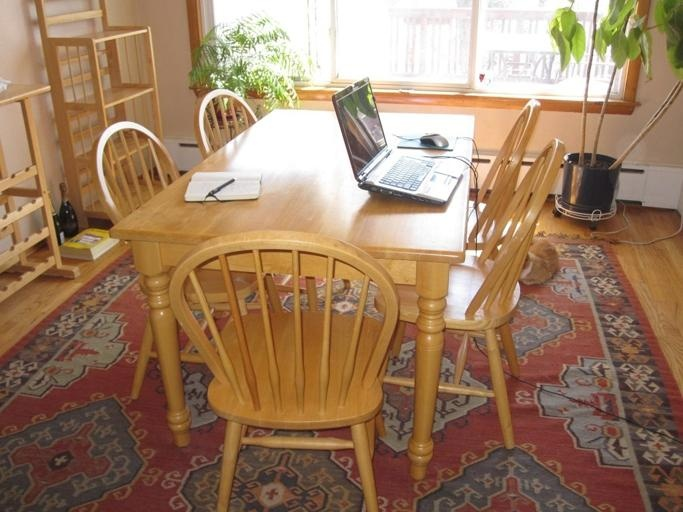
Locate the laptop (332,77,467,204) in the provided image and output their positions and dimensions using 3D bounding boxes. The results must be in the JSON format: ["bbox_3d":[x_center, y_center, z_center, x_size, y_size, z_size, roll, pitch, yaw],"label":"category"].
[{"bbox_3d":[0.185,-0.397,1.954,0.582,0.447,0.654,6,30,15],"label":"laptop"}]

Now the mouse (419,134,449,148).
[{"bbox_3d":[0.432,-0.533,2.269,0.109,0.037,0.063,13,32,33],"label":"mouse"}]

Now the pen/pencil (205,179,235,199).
[{"bbox_3d":[-0.445,-0.250,1.845,0.029,0.026,0.199,14,33,23],"label":"pen/pencil"}]
